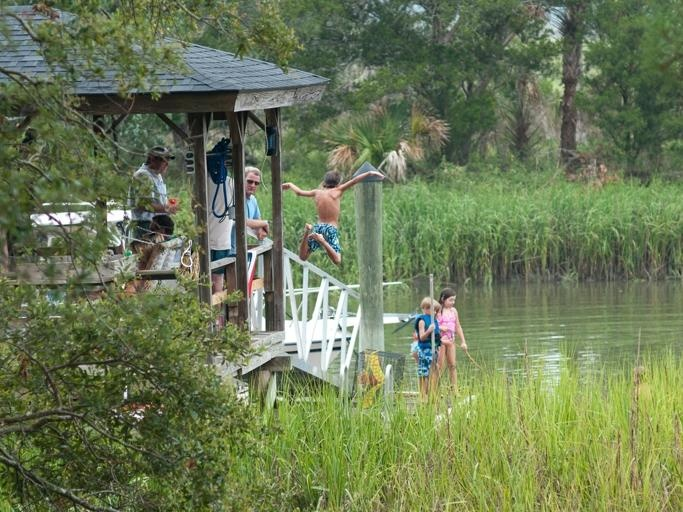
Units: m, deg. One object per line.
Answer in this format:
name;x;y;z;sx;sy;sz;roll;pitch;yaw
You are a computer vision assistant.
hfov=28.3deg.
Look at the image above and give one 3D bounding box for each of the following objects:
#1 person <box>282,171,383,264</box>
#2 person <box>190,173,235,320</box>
person;-0.231;-0.495;16.713;1.207;1.311;0.520;2;-22;16
person;-1.341;-0.059;14.726;0.409;1.643;1.325;-3;5;-3
